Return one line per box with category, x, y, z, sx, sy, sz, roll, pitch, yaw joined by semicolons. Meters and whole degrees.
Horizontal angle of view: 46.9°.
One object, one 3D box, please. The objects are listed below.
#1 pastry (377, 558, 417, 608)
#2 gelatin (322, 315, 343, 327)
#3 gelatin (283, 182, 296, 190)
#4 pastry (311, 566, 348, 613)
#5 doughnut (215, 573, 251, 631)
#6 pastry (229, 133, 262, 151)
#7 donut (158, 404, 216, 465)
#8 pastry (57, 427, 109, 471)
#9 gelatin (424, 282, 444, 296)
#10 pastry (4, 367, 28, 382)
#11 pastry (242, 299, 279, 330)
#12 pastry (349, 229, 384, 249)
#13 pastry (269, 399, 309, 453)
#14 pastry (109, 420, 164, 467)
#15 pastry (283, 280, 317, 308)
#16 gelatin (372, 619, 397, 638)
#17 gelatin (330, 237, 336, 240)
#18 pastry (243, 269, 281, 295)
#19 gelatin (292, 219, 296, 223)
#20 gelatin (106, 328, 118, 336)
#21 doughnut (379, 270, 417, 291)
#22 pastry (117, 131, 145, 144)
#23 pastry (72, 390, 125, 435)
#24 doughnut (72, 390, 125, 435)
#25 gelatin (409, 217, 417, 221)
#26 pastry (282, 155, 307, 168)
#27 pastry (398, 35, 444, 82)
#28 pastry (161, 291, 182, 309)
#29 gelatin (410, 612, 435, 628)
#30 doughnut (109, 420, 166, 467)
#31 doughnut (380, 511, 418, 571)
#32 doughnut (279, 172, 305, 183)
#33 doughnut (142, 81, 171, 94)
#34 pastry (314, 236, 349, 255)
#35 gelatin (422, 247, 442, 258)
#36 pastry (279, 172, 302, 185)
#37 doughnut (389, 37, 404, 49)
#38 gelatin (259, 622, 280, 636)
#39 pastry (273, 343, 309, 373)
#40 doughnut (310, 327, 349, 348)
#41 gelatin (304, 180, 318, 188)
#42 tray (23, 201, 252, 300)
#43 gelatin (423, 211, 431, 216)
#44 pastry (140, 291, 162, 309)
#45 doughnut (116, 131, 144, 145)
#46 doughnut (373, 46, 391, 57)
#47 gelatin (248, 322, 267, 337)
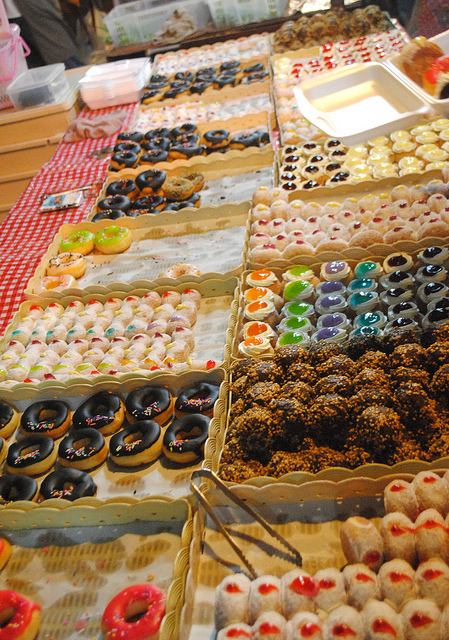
pastry;0.518;0.789;1.549;0.089;0.064;0.106;-11;42;16
gelatin;0.547;0.005;2.645;0.072;0.019;0.068;-24;23;-16
gelatin;0.502;-1.025;3.980;0.075;0.025;0.071;-4;37;1
pastry;0.316;0.837;1.601;0.101;0.091;0.087;-2;52;-1
doughnut;0.012;0.928;1.713;0.118;0.076;0.150;-11;40;30
pastry;0.215;-1.828;5.246;0.270;0.084;0.184;-16;26;-13
donut;-0.188;0.595;2.677;0.302;0.106;0.304;9;39;26
pastry;-0.768;0.693;2.772;0.287;0.092;0.270;7;22;20
gelatin;1.008;-0.150;2.497;0.090;0.029;0.064;-11;39;7
pastry;-1.316;0.348;3.288;0.104;0.077;0.103;-29;-7;24
pastry;0.188;-0.025;2.978;0.183;0.159;0.174;-19;-2;-12
pastry;0.841;-0.480;3.053;0.137;0.060;0.128;-15;20;2
pastry;0.262;0.436;2.144;0.168;0.203;0.080;18;2;37
pastry;-0.462;0.635;2.707;0.289;0.096;0.260;-8;33;8
pastry;0.425;-0.161;2.948;0.170;0.118;0.155;10;43;5
gelatin;0.436;0.845;1.411;0.043;0.012;0.039;7;16;0
gelatin;0.665;-0.498;3.165;0.023;0.007;0.022;7;32;21
pastry;0.230;-0.234;3.097;0.176;0.095;0.159;-5;37;0
gelatin;0.469;-0.666;3.496;0.029;0.012;0.028;-9;39;10
gelatin;-0.755;0.081;3.464;0.064;0.018;0.067;16;49;34
doughnut;0.892;-0.214;2.694;0.133;0.058;0.123;7;28;31
pastry;-1.034;-2.030;5.720;0.242;0.081;0.218;6;47;8
pastry;-0.709;0.544;2.946;0.310;0.108;0.308;-25;26;-23
doughnut;-0.707;0.498;2.868;0.258;0.087;0.231;-16;40;9
gelatin;1.134;-0.608;3.127;0.031;0.011;0.029;-11;21;16
pastry;0.588;-1.318;4.297;0.164;0.047;0.152;-15;31;-11
pastry;0.762;-1.016;2.023;0.175;0.199;0.053;1;16;45
pastry;-0.373;-0.149;3.630;0.130;0.118;0.147;4;20;19
gelatin;0.535;0.817;1.414;0.060;0.021;0.040;-20;39;-4
doughnut;-0.442;0.633;2.655;0.261;0.090;0.253;-12;23;13
doughnut;0.563;0.725;1.680;0.135;0.136;0.046;-40;12;22
doughnut;0.532;-1.127;4.093;0.136;0.039;0.124;-1;34;3
doughnut;-0.851;-2.974;6.595;0.246;0.081;0.254;-9;28;-6
pastry;0.660;-0.439;3.164;0.134;0.073;0.126;-19;5;1
gelatin;1.098;-0.359;2.741;0.070;0.017;0.068;2;35;38
pastry;0.511;-1.124;4.094;0.132;0.039;0.119;-1;38;2
doughnut;1.838;-2.951;5.527;0.139;0.028;0.202;0;37;18
gelatin;0.131;0.912;1.526;0.056;0.020;0.032;-16;39;1
pastry;0.311;0.173;2.467;0.130;0.073;0.138;-6;20;12
doughnut;0.522;0.076;2.555;0.117;0.037;0.113;-28;23;-22
gelatin;0.671;-1.033;3.932;0.092;0.016;0.051;-27;46;-21
tray;-0.638;-0.502;4.335;1.535;0.148;0.855;-4;40;14
gelatin;1.203;-0.638;3.076;0.039;0.010;0.036;-11;23;-1
pastry;-0.502;-0.141;3.701;0.113;0.122;0.149;-7;13;43
doughnut;-1.032;-2.026;5.722;0.215;0.073;0.216;22;40;38
doughnut;1.663;-2.836;5.463;0.184;0.037;0.188;0;32;37
gelatin;0.179;0.053;2.780;0.099;0.021;0.085;9;45;29
